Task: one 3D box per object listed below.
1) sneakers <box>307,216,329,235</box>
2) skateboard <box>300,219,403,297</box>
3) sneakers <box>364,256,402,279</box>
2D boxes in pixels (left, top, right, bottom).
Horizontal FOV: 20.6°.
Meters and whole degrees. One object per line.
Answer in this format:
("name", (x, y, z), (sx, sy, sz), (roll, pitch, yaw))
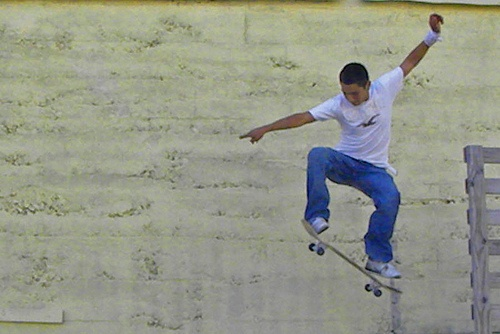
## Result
("sneakers", (0.751, 0.653, 14.932), (0.131, 0.075, 0.225), (-41, 21, -10))
("skateboard", (1.126, 1.082, 15.319), (0.173, 1.211, 0.257), (-53, 3, -3))
("sneakers", (1.453, 1.129, 15.029), (0.463, 0.167, 0.166), (12, 6, 19))
